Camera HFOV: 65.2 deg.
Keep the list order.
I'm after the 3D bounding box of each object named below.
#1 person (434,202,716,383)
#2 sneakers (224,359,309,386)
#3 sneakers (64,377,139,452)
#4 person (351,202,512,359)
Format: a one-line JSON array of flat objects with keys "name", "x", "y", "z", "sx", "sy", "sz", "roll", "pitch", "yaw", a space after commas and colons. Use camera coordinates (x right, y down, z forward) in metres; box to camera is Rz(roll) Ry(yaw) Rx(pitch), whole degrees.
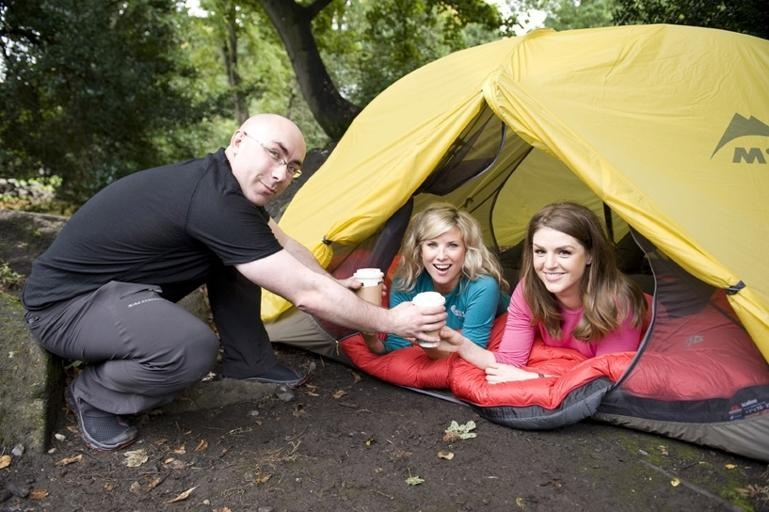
[{"name": "person", "x": 1.417, "y": 0.180, "z": 4.571, "sx": 1.719, "sy": 0.857, "sz": 1.114, "roll": -19, "pitch": 14, "yaw": -40}, {"name": "sneakers", "x": -0.913, "y": 0.888, "z": 4.682, "sx": 0.645, "sy": 0.203, "sz": 0.226, "roll": 4, "pitch": 5, "yaw": -10}, {"name": "sneakers", "x": -1.840, "y": 1.071, "z": 3.969, "sx": 0.573, "sy": 0.266, "sz": 0.281, "roll": 36, "pitch": 40, "yaw": 21}, {"name": "person", "x": 0.479, "y": 0.089, "z": 4.877, "sx": 1.021, "sy": 0.913, "sz": 1.353, "roll": 4, "pitch": 17, "yaw": 31}]
